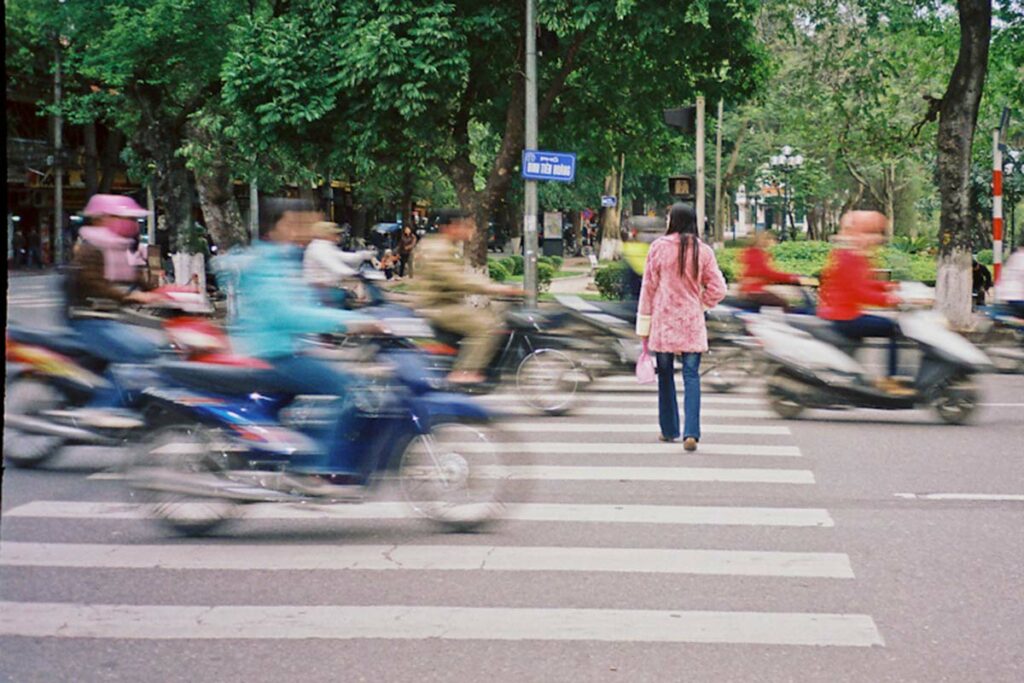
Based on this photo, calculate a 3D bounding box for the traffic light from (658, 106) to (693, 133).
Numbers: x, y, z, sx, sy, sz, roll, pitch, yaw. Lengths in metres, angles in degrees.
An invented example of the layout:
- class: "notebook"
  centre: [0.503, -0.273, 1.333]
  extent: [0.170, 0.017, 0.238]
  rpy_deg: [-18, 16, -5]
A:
- class: "traffic light"
  centre: [2.567, -3.475, 19.708]
  extent: [0.437, 0.374, 1.268]
  rpy_deg: [2, 14, 8]

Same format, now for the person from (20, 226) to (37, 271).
- class: "person"
  centre: [-20.417, -3.873, 53.665]
  extent: [0.548, 1.439, 1.818]
  rpy_deg: [-5, 14, -18]

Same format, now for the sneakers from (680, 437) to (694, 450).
- class: "sneakers"
  centre: [1.778, 1.031, 12.908]
  extent: [0.126, 0.113, 0.273]
  rpy_deg: [0, -5, 2]

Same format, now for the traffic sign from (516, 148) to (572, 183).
- class: "traffic sign"
  centre: [0.553, -3.005, 21.612]
  extent: [0.891, 0.562, 0.490]
  rpy_deg: [0, 14, -2]
